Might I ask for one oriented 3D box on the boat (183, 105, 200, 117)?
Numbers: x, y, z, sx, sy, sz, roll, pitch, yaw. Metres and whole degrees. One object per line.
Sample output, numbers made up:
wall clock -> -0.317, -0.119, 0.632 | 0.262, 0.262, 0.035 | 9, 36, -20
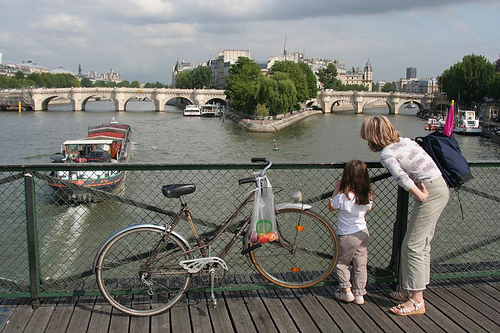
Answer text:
boat -> -8.009, -7.595, 62.766 | 1.482, 1.041, 3.394 | 0, 13, -7

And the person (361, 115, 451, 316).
person -> 1.289, 0.405, 3.827 | 0.709, 1.652, 0.397 | 2, 11, 12

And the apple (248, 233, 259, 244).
apple -> 0.029, 0.585, 3.725 | 0.072, 0.118, 0.075 | 6, 26, 11

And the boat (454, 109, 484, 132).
boat -> 21.094, -4.693, 44.360 | 1.680, 2.048, 5.735 | -3, 13, 19

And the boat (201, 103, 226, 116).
boat -> -5.619, -7.944, 63.856 | 3.129, 1.661, 4.677 | 0, 13, -1

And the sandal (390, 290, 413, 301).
sandal -> 1.325, 1.135, 3.990 | 0.166, 0.050, 0.068 | 2, 9, 19

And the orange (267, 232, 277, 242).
orange -> 0.176, 0.577, 3.719 | 0.068, 0.063, 0.069 | 1, 5, -9

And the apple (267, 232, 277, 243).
apple -> 0.169, 0.578, 3.720 | 0.080, 0.077, 0.093 | -2, -20, -23

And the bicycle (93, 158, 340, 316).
bicycle -> -0.265, 0.594, 3.815 | 2.080, 1.169, 0.555 | -4, 6, -10

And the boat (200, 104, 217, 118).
boat -> -5.859, -7.707, 62.617 | 2.155, 1.565, 3.932 | -1, 11, -6

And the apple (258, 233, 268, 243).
apple -> 0.100, 0.587, 3.718 | 0.066, 0.068, 0.025 | -2, -22, 3

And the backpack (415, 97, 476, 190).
backpack -> 1.639, -0.199, 3.888 | 0.448, 0.733, 0.295 | -5, 6, 4

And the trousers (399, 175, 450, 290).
trousers -> 1.470, 0.562, 3.836 | 0.338, 0.988, 0.138 | -1, 11, -3

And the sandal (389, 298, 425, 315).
sandal -> 1.322, 1.189, 3.870 | 0.262, 0.118, 0.115 | 2, -3, -1

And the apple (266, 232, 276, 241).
apple -> 0.163, 0.573, 3.718 | 0.064, 0.066, 0.064 | 2, 2, -12

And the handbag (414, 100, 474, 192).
handbag -> 1.633, -0.177, 3.900 | 0.252, 0.657, 0.374 | -17, 11, -32
